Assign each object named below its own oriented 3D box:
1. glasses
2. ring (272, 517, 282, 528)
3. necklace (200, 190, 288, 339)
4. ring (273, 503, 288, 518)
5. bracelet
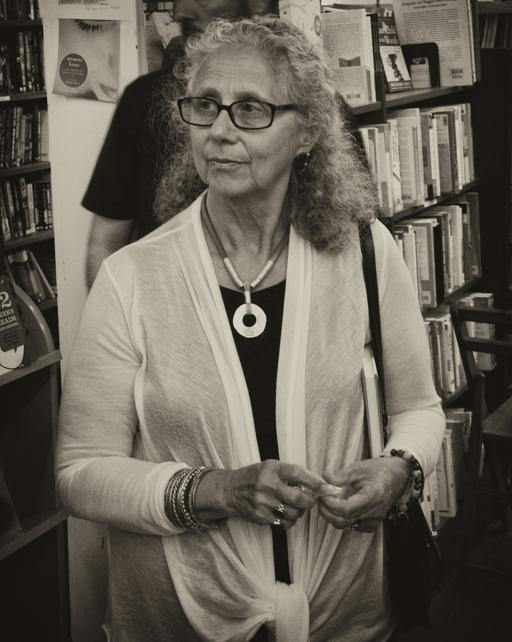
[{"bbox_3d":[-0.025,-0.356,1.127,0.197,0.072,0.067,-3,4,3],"label":"glasses"},{"bbox_3d":[0.036,0.338,1.105,0.013,0.019,0.020,-2,5,7],"label":"ring"},{"bbox_3d":[-0.019,-0.077,1.238,0.098,0.210,0.199,-2,-21,2],"label":"necklace"},{"bbox_3d":[0.040,0.316,1.091,0.018,0.028,0.023,11,17,30],"label":"ring"},{"bbox_3d":[-0.096,0.297,1.093,0.074,0.071,0.098,14,-23,-16],"label":"bracelet"}]
